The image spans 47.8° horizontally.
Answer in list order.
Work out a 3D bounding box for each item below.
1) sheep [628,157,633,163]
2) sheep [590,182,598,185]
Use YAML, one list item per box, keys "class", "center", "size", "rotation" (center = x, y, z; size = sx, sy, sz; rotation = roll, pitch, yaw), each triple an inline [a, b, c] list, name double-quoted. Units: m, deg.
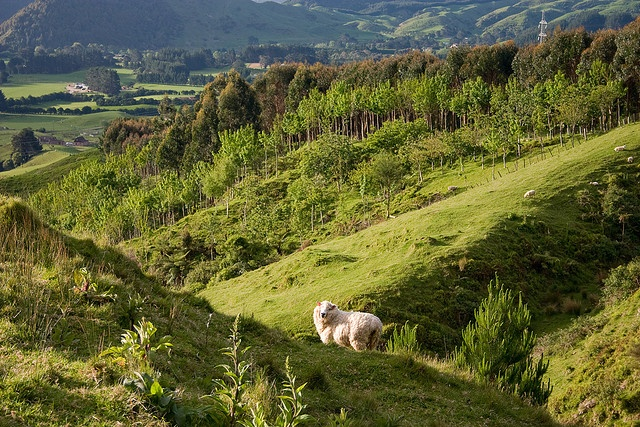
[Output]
- class: "sheep"
  center: [90.800, -15.493, 210.491]
  size: [1.857, 1.558, 0.822]
  rotation: [4, 5, -11]
- class: "sheep"
  center: [79.505, -8.590, 208.689]
  size: [1.417, 0.625, 1.021]
  rotation: [5, -5, -15]
